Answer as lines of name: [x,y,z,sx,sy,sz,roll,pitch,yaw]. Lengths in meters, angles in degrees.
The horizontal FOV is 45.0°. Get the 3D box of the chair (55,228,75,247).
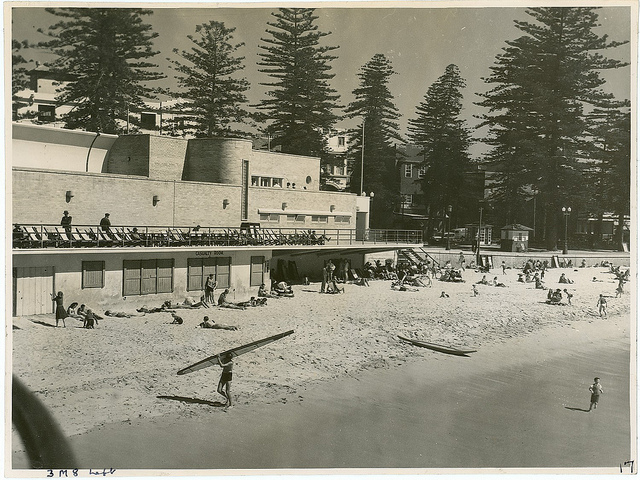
chair: [-11.362,-0.166,33.978,0.687,1.292,0.977,-1,1,-42]

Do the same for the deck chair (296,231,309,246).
deck chair: [-1.008,-0.092,43.838,0.616,0.657,1.607,1,-2,8]

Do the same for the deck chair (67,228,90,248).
deck chair: [-11.052,-0.101,34.936,0.845,1.386,0.918,-1,2,12]

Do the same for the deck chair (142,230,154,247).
deck chair: [-8.404,-0.127,37.459,0.521,0.923,3.671,1,-2,-13]

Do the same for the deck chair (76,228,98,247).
deck chair: [-10.538,-0.119,34.620,0.294,0.200,0.883,-32,45,-24]

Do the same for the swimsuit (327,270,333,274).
swimsuit: [0.527,1.777,44.130,0.189,0.187,0.193,0,-8,24]

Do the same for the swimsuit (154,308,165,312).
swimsuit: [-7.556,3.215,35.941,0.420,0.169,0.171,2,-2,-36]

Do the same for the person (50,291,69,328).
person: [-11.187,2.946,33.048,0.532,1.515,0.538,1,-1,-8]

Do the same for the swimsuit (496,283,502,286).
swimsuit: [11.454,2.785,49.312,0.350,0.160,0.158,0,-1,12]

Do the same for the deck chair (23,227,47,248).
deck chair: [-12.682,-0.149,33.978,0.839,0.949,2.997,1,-2,-26]

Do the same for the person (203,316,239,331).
person: [-4.518,3.812,35.291,1.451,0.616,0.631,4,0,3]

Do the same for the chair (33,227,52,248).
chair: [-12.138,-0.140,33.602,0.703,0.902,1.662,1,-2,-24]

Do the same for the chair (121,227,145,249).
chair: [-8.847,-0.261,36.075,0.798,0.476,1.440,5,18,-33]

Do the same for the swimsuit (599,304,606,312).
swimsuit: [15.861,3.746,43.292,0.476,0.472,0.111,-4,7,-21]

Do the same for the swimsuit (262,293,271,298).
swimsuit: [-2.830,2.821,39.985,0.306,0.224,0.198,2,-2,-44]

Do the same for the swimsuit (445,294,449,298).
swimsuit: [7.405,3.203,45.009,0.218,0.165,0.823,1,-2,12]

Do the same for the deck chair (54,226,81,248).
deck chair: [-11.189,-0.156,34.234,1.261,1.355,0.771,3,5,35]

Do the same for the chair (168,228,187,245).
chair: [-7.069,-0.214,38.291,0.630,0.864,3.057,1,-2,-14]

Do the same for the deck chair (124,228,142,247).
deck chair: [-8.712,-0.057,35.726,0.710,0.727,1.236,1,-2,-13]

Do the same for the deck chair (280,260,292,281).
deck chair: [-2.053,1.766,44.934,0.366,0.991,0.999,-17,7,-4]

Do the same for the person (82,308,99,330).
person: [-10.073,3.400,33.468,0.470,0.850,0.279,1,-1,-21]

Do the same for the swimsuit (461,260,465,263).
swimsuit: [9.946,1.444,53.773,0.174,0.170,0.047,-3,-7,-9]

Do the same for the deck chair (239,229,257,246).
deck chair: [-3.825,-0.172,40.786,0.762,0.935,2.829,1,-2,-9]

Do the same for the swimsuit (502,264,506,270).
swimsuit: [12.958,1.878,54.163,0.073,0.294,0.310,2,-1,38]

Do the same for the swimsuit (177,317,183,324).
swimsuit: [-6.365,3.629,35.081,0.148,0.252,0.365,1,-2,10]

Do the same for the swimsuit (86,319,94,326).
swimsuit: [-9.991,3.503,33.384,0.237,0.245,0.430,1,-11,-21]

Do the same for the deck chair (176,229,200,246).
deck chair: [-6.513,-0.088,37.616,1.176,0.682,0.634,0,-2,39]

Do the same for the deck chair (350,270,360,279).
deck chair: [2.133,2.079,47.826,0.517,0.527,1.092,1,-2,-9]

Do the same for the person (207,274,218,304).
person: [-5.288,2.352,37.580,0.399,1.418,0.862,1,-1,-4]

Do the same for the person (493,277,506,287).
person: [11.493,2.556,49.497,0.730,0.330,0.533,22,14,35]

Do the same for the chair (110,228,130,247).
chair: [-9.625,-0.196,36.251,0.833,0.886,2.816,1,-2,-24]

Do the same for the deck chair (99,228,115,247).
deck chair: [-9.816,-0.180,35.386,0.930,0.652,0.231,36,28,33]

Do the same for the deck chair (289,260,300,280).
deck chair: [-1.572,1.732,45.535,0.349,0.964,0.958,-21,10,0]

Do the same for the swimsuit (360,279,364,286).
swimsuit: [2.509,2.531,46.516,0.199,0.257,0.232,1,-1,-24]

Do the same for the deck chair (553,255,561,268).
deck chair: [17.266,1.553,56.185,0.242,1.095,0.349,-3,-13,-1]
